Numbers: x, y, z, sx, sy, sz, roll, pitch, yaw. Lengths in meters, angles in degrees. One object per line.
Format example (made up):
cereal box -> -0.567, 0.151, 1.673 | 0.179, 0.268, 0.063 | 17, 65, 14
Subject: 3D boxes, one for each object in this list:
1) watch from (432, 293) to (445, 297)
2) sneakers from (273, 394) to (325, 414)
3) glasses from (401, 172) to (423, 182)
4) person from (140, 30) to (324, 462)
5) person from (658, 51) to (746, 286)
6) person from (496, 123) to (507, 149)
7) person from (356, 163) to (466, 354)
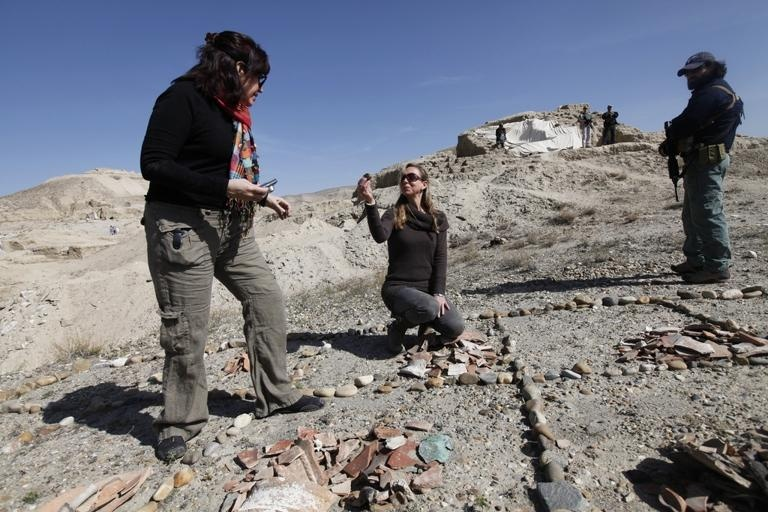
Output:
watch -> 0.573, 0.425, 4.484 | 0.103, 0.033, 0.086 | -6, 8, 1
sneakers -> -0.743, 1.289, 3.725 | 0.397, 0.143, 0.179 | -5, -3, 0
glasses -> 0.290, -0.823, 4.491 | 0.224, 0.094, 0.069 | -5, 9, 4
person -> -1.369, -0.061, 3.433 | 1.337, 3.276, 0.490 | -10, 10, -12
person -> 4.064, -1.124, 5.492 | 0.821, 2.914, 0.777 | 0, 12, 36
person -> 6.118, -6.265, 22.312 | 0.495, 1.388, 2.009 | -5, 9, 18
person -> 0.320, 0.042, 4.452 | 0.833, 1.987, 0.730 | -7, 10, 2
